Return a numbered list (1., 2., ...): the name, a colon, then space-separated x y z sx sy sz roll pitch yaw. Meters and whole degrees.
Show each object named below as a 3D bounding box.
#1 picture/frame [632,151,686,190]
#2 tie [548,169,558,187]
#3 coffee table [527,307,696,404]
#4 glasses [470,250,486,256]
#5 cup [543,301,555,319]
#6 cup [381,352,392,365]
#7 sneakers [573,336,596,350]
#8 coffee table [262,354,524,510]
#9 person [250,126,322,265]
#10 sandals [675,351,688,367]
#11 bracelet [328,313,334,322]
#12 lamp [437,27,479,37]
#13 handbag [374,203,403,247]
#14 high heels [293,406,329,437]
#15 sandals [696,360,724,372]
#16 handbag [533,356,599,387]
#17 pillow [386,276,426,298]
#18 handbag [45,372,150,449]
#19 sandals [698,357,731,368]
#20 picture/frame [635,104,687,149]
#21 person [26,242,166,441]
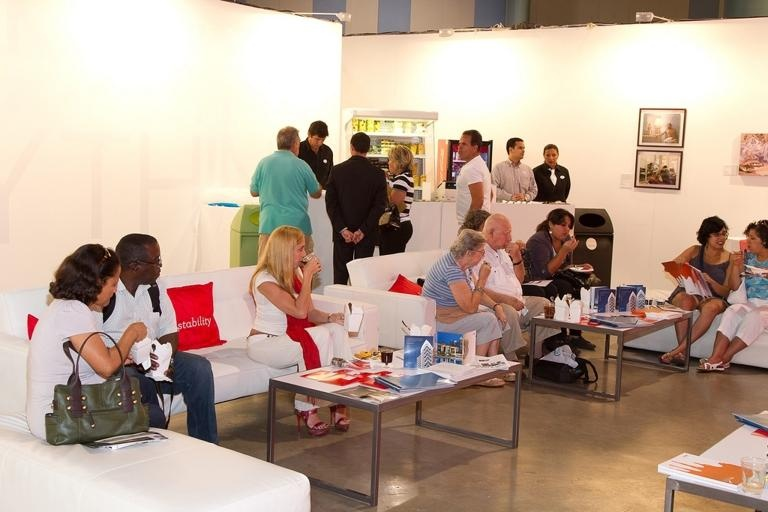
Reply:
1. picture/frame: 4.380 -1.349 9.502 0.601 0.564 0.047 7 6 34
2. tie: 2.678 -1.238 9.508 0.067 0.220 0.136 -17 -11 23
3. coffee table: 2.109 0.814 5.817 0.872 0.635 1.447 4 8 37
4. glasses: 0.816 -0.022 5.238 0.135 0.074 0.040 -6 14 -39
5. cup: 1.560 0.524 5.741 0.122 0.154 0.124 2 4 0
6. cup: 0.019 0.700 4.108 0.076 0.064 0.085 3 6 5
7. sneakers: 2.292 1.005 6.896 0.290 0.117 0.107 12 17 16
8. coffee table: 0.085 1.079 4.188 1.652 0.721 0.867 -6 13 -38
9. person: -1.201 -0.451 7.280 0.871 2.108 0.680 5 25 -1
10. sandals: 3.129 1.093 6.394 0.161 0.161 0.114 -1 2 7
11. bracelet: -0.427 0.479 4.695 0.036 0.052 0.056 16 -21 13
12. lamp: 1.300 -3.912 10.581 0.697 0.158 0.243 2 10 2
13. handbag: 0.040 -0.383 7.269 0.176 0.306 0.473 4 18 17
14. high heels: -0.529 1.233 4.505 0.280 0.199 0.151 1 5 14
15. sandals: 3.381 1.143 6.232 0.268 0.076 0.105 3 -2 -10
16. handbag: 1.680 1.107 5.787 0.382 0.137 0.372 1 4 -45
17. pillow: 0.233 0.309 5.916 0.221 0.069 0.230 27 40 -12
18. handbag: -1.462 0.791 3.030 0.363 0.333 0.152 -4 -1 -32
19. sandals: 3.430 1.113 6.247 0.327 0.091 0.127 2 -3 -21
20. picture/frame: 4.401 -2.034 9.462 0.712 0.618 0.069 3 2 31
21. person: -1.632 0.289 3.713 0.875 1.402 0.929 -5 20 -26
